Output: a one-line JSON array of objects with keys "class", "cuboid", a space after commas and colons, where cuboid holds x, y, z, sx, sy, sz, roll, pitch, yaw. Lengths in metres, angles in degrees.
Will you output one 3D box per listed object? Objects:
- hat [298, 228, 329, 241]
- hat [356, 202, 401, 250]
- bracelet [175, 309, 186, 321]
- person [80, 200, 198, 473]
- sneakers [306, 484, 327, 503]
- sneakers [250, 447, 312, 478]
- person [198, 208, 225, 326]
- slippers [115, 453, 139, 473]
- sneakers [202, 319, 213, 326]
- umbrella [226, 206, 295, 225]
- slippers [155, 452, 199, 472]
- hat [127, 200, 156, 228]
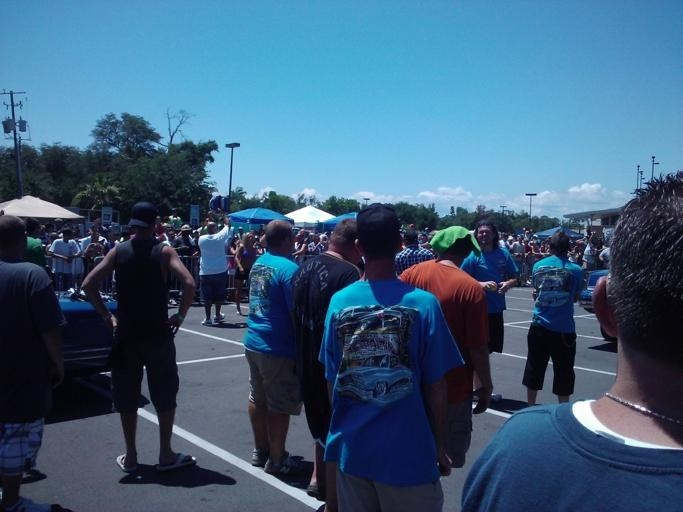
[{"class": "hat", "cuboid": [-0.889, -0.686, 18.320, 0.772, 0.217, 0.775, 0, -1, -2]}, {"class": "hat", "cuboid": [0.161, -0.167, 3.047, 0.239, 0.232, 0.390, 3, 14, -1]}, {"class": "bracelet", "cuboid": [-1.294, 0.475, 4.537, 0.063, 0.050, 0.088, 12, 0, -27]}, {"class": "person", "cuboid": [-1.591, 0.656, 4.535, 0.818, 2.150, 0.342, 2, 3, 6]}, {"class": "sneakers", "cuboid": [-0.191, 1.726, 4.138, 0.174, 0.084, 0.064, 16, -6, -23]}, {"class": "sneakers", "cuboid": [-0.478, 1.675, 4.660, 0.425, 0.208, 0.200, 3, 0, -27]}, {"class": "person", "cuboid": [-2.431, 0.311, 10.760, 0.529, 1.953, 0.800, 0, 4, -13]}, {"class": "slippers", "cuboid": [-1.755, 1.683, 4.609, 0.106, 0.077, 0.191, 0, 4, -33]}, {"class": "sneakers", "cuboid": [-2.536, 1.247, 10.653, 0.109, 0.114, 0.245, 2, 1, -24]}, {"class": "umbrella", "cuboid": [-2.591, -1.189, 17.149, 1.663, 0.656, 1.883, 2, 2, -4]}, {"class": "slippers", "cuboid": [-1.333, 1.647, 4.621, 0.262, 0.110, 0.126, -1, 0, -37]}, {"class": "hat", "cuboid": [-1.592, -0.320, 4.562, 0.147, 0.145, 0.245, 2, 8, -3]}]
